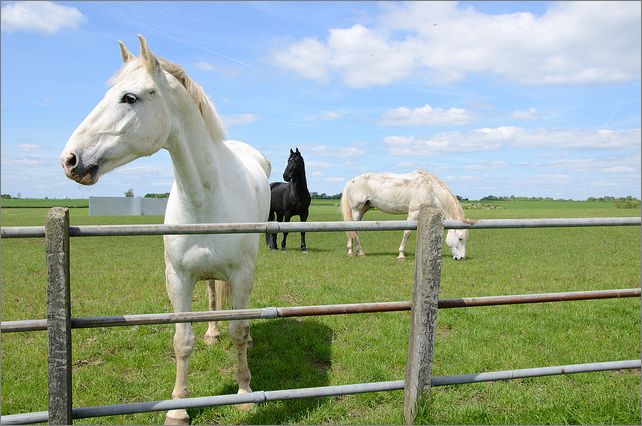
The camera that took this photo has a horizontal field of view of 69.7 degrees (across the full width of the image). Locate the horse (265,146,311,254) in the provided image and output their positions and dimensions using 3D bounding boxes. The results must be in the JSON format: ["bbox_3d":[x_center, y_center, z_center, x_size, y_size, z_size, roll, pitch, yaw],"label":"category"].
[{"bbox_3d":[-1.074,-0.379,14.892,1.363,3.400,2.934,-2,8,-7],"label":"horse"}]

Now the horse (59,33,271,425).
[{"bbox_3d":[-1.515,0.160,5.590,1.490,4.183,2.488,1,9,16],"label":"horse"}]

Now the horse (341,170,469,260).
[{"bbox_3d":[2.529,0.087,14.517,4.360,2.921,1.039,4,2,26],"label":"horse"}]
